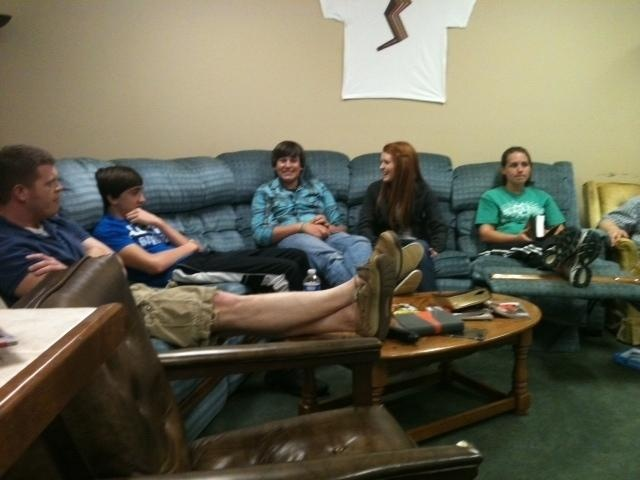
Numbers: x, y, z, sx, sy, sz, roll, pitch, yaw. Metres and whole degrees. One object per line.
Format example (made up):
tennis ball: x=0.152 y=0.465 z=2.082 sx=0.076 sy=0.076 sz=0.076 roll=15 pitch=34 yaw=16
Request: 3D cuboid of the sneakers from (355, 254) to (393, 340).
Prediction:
sneakers: x=0.230 y=0.200 z=1.793 sx=0.148 sy=0.315 sz=0.113 roll=0 pitch=-2 yaw=44

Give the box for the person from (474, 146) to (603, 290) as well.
person: x=1.348 y=-0.158 z=2.995 sx=0.547 sy=0.758 sz=1.084 roll=-3 pitch=10 yaw=4

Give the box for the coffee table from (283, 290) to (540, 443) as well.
coffee table: x=0.463 y=0.586 z=2.222 sx=0.780 sy=0.479 sz=1.049 roll=-19 pitch=-4 yaw=-12

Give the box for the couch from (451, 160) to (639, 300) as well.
couch: x=1.335 y=-0.120 z=3.006 sx=0.692 sy=0.647 sz=1.085 roll=-1 pitch=13 yaw=-4

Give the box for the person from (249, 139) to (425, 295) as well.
person: x=-0.009 y=-0.162 z=2.949 sx=0.627 sy=0.847 sz=1.245 roll=-8 pitch=15 yaw=-24

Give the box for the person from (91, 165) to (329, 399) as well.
person: x=-0.546 y=0.183 z=2.488 sx=1.158 sy=1.303 sz=0.571 roll=-11 pitch=-4 yaw=11

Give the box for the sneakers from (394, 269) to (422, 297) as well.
sneakers: x=0.429 y=0.211 z=2.336 sx=0.066 sy=0.189 sz=0.074 roll=12 pitch=42 yaw=-22

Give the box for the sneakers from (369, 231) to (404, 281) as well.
sneakers: x=0.258 y=0.070 z=2.075 sx=0.131 sy=0.152 sz=0.385 roll=-8 pitch=0 yaw=5
